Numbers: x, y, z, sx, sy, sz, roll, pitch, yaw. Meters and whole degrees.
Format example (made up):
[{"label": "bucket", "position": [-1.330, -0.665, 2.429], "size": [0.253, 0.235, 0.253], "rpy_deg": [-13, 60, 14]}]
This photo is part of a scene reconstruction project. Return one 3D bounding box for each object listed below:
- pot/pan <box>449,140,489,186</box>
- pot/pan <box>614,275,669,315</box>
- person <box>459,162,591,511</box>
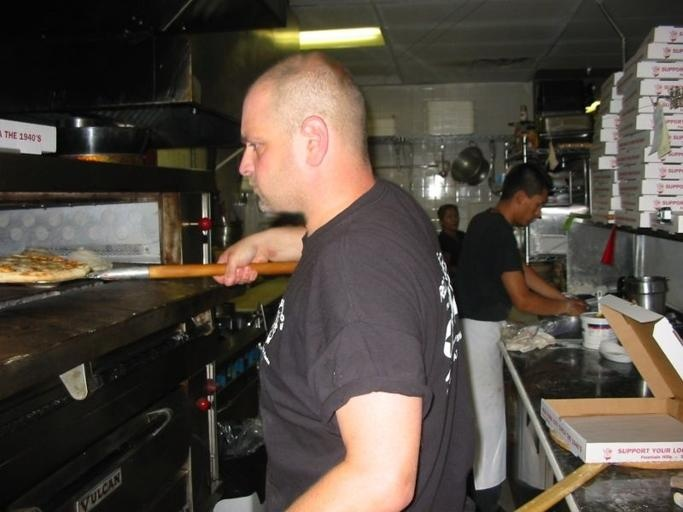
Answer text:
[{"label": "pot/pan", "position": [1.304, -0.928, 5.784], "size": [0.395, 0.365, 0.155], "rpy_deg": [-12, 27, -12]}, {"label": "pot/pan", "position": [1.404, 0.187, 2.638], "size": [0.183, 0.179, 0.166], "rpy_deg": [-1, 8, 19]}, {"label": "person", "position": [0.939, 0.424, 3.108], "size": [0.581, 1.827, 0.638], "rpy_deg": [-2, 7, 6]}]
